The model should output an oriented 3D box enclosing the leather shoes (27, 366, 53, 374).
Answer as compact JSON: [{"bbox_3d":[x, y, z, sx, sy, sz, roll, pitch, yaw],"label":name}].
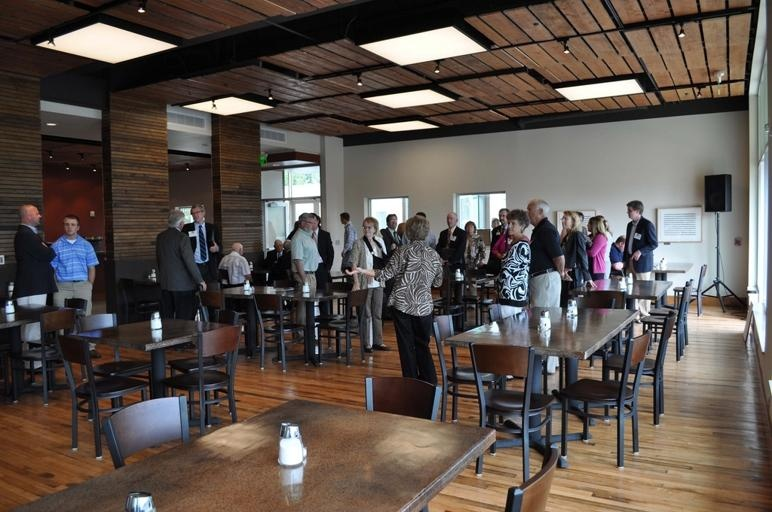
[{"bbox_3d":[-4.284,1.419,7.160,0.315,0.068,0.217,2,2,21],"label":"leather shoes"}]

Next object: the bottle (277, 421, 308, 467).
[{"bbox_3d":[-0.585,1.164,3.609,0.181,0.249,0.199,-1,4,0],"label":"bottle"}]

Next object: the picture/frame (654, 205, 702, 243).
[{"bbox_3d":[6.303,-0.682,12.346,1.052,0.902,0.109,1,1,31],"label":"picture/frame"}]

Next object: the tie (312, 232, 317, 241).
[{"bbox_3d":[-1.176,-0.327,9.617,0.108,0.133,0.038,2,-24,-39],"label":"tie"}]

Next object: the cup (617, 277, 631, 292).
[{"bbox_3d":[3.361,0.409,8.136,0.155,0.180,0.496,1,5,25],"label":"cup"}]

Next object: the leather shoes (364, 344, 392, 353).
[{"bbox_3d":[-0.137,1.432,8.930,0.446,0.155,0.142,-3,-4,8],"label":"leather shoes"}]
